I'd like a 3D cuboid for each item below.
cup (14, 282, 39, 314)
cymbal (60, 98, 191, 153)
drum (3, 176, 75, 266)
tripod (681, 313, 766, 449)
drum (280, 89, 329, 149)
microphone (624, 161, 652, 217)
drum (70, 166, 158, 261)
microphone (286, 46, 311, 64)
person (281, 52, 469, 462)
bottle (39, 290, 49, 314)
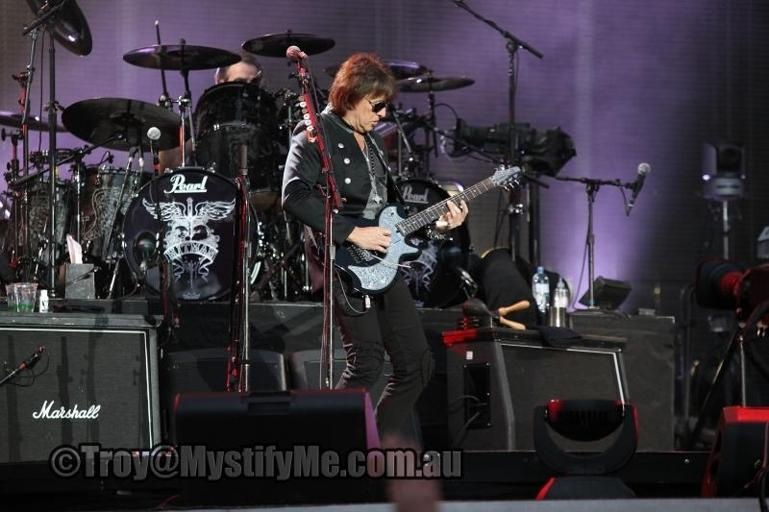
[{"bbox_3d":[-2.221,0.261,6.491,0.177,0.190,0.194,-1,-6,0],"label":"cup"},{"bbox_3d":[-1.965,-0.998,7.892,0.652,0.138,0.605,16,-38,-26],"label":"cymbal"},{"bbox_3d":[-2.521,-0.262,7.682,0.423,0.642,0.493,0,0,-6],"label":"drum"},{"bbox_3d":[2.324,0.882,7.121,0.235,1.193,0.241,29,38,25],"label":"tripod"},{"bbox_3d":[-0.628,-0.961,7.860,0.503,0.605,0.206,1,-1,-6],"label":"drum"},{"bbox_3d":[2.164,-0.556,8.834,0.192,0.465,0.149,-7,33,-26],"label":"microphone"},{"bbox_3d":[-2.084,-0.294,8.103,0.715,0.639,0.725,2,-12,14],"label":"drum"},{"bbox_3d":[-0.505,-1.148,5.888,0.113,0.061,0.142,23,-2,-44],"label":"microphone"},{"bbox_3d":[-0.078,-0.029,6.065,1.002,2.329,0.526,0,0,-9],"label":"person"},{"bbox_3d":[-2.117,0.281,6.530,0.068,0.132,0.412,0,-1,-18],"label":"bottle"}]
